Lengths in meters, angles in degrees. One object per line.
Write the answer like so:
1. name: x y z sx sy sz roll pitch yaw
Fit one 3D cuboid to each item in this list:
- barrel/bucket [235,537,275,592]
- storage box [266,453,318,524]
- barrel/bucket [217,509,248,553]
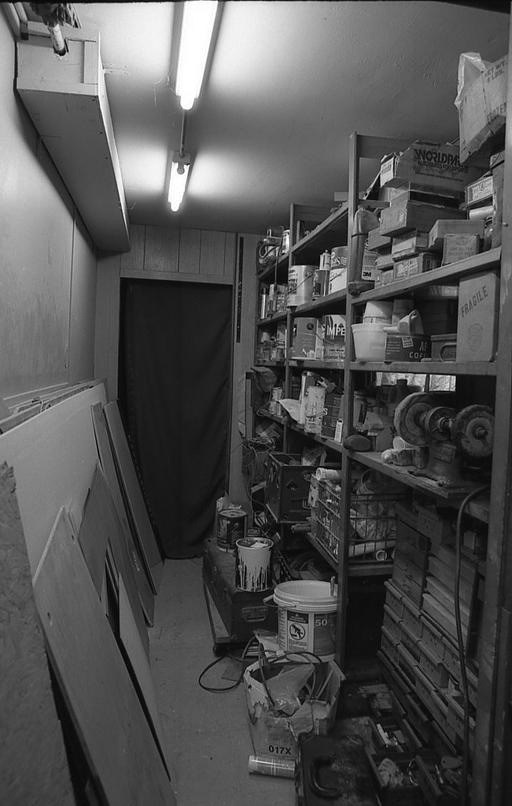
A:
1. barrel/bucket: -0.005 0.784 2.490 0.160 0.235 0.186 0 6 -10
2. storage box: 0.178 0.358 2.766 0.204 0.339 0.410 -1 6 -8
3. barrel/bucket: -0.141 0.785 3.193 0.151 0.225 0.187 3 6 4
